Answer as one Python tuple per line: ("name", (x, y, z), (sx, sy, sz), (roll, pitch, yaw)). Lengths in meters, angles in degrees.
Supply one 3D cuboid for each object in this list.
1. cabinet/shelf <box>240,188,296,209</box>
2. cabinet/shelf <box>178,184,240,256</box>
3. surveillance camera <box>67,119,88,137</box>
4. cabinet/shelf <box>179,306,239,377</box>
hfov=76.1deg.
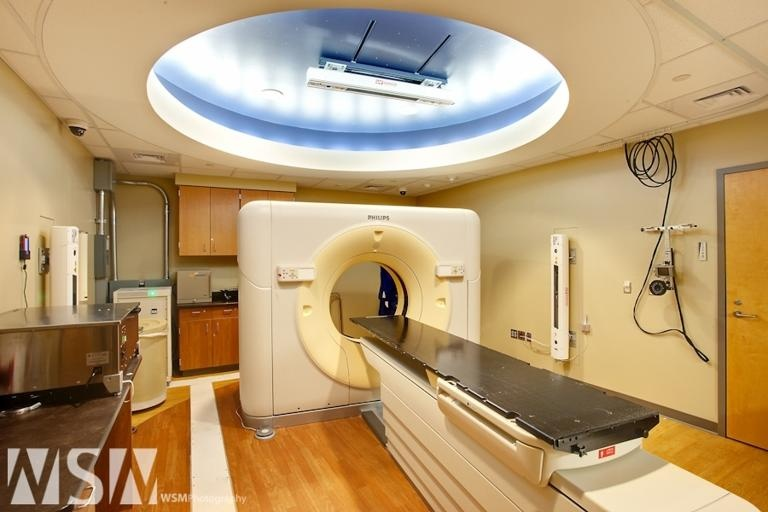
("cabinet/shelf", (-1.526, -0.758, 6.408), (0.698, 0.203, 0.114), (-1, 0, -25))
("cabinet/shelf", (-2.196, -0.446, 6.066), (0.993, 1.044, 0.378), (1, 0, -27))
("surveillance camera", (-2.733, -1.150, 4.371), (0.157, 0.162, 0.170), (-1, 0, -39))
("cabinet/shelf", (-2.032, 0.994, 6.045), (0.874, 0.771, 0.323), (-7, -10, 13))
